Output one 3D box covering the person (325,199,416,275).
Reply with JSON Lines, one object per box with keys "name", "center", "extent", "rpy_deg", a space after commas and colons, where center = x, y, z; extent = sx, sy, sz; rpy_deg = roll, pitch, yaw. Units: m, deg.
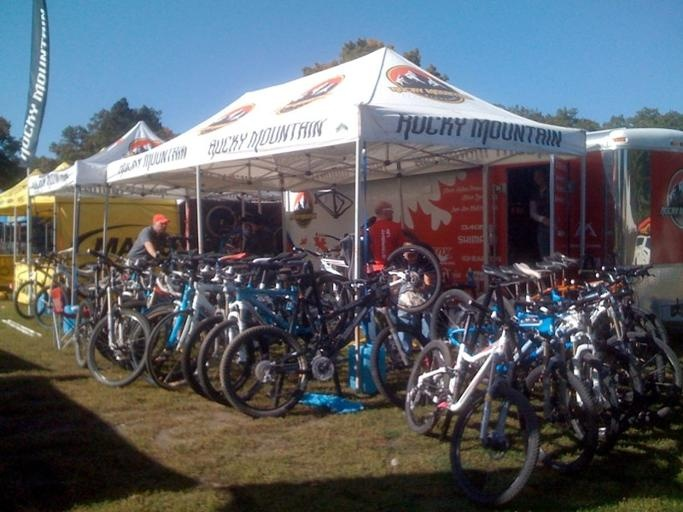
{"name": "person", "center": [0.418, -0.199, 8.112], "extent": [0.667, 0.750, 1.110], "rpy_deg": [-2, 3, -28]}
